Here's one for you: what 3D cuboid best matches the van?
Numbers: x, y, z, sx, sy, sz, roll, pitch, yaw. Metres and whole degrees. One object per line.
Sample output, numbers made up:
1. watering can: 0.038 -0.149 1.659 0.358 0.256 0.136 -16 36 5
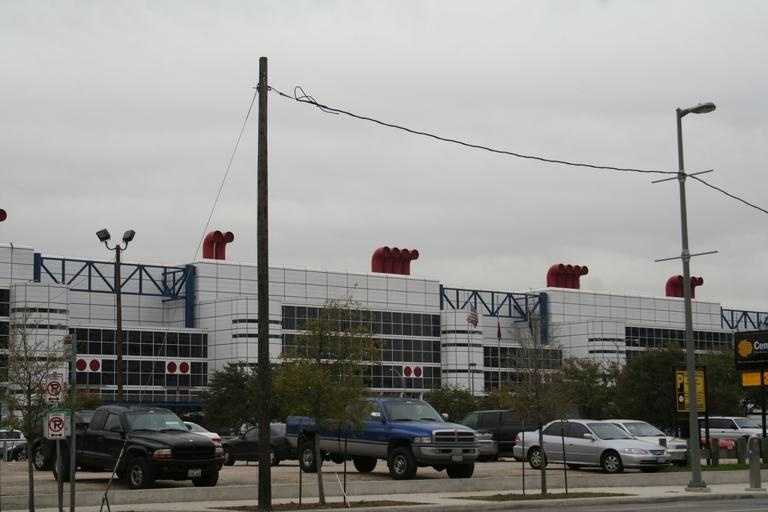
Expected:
1. van: 6.470 9.401 91.947 2.302 2.138 4.789 2 -1 -33
